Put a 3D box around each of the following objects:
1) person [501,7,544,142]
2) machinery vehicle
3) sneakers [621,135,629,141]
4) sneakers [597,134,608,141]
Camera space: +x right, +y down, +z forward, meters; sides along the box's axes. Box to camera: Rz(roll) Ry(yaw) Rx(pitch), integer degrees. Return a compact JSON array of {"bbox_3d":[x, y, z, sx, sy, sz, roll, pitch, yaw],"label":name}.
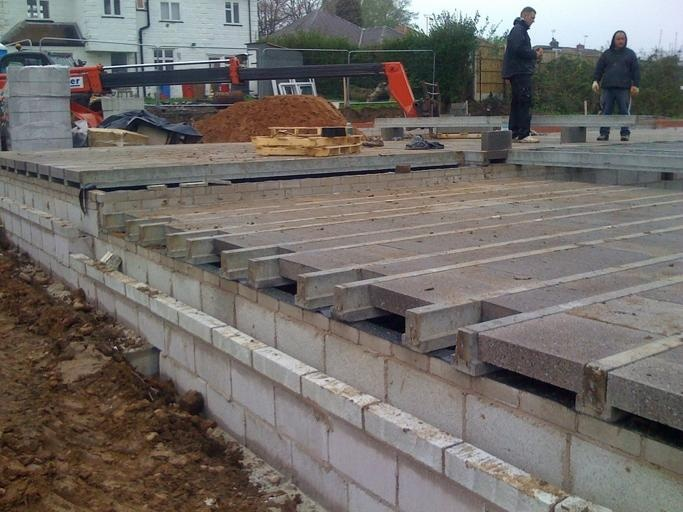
[{"bbox_3d":[2.766,-2.809,10.702,0.529,1.996,0.802,3,16,12],"label":"person"},{"bbox_3d":[-2.502,-3.449,14.303,8.055,1.437,3.195,2,14,9],"label":"machinery vehicle"},{"bbox_3d":[4.544,-1.919,11.100,0.078,0.086,0.227,3,6,33],"label":"sneakers"},{"bbox_3d":[4.416,-1.997,11.522,0.284,0.094,0.093,-1,8,-13],"label":"sneakers"}]
